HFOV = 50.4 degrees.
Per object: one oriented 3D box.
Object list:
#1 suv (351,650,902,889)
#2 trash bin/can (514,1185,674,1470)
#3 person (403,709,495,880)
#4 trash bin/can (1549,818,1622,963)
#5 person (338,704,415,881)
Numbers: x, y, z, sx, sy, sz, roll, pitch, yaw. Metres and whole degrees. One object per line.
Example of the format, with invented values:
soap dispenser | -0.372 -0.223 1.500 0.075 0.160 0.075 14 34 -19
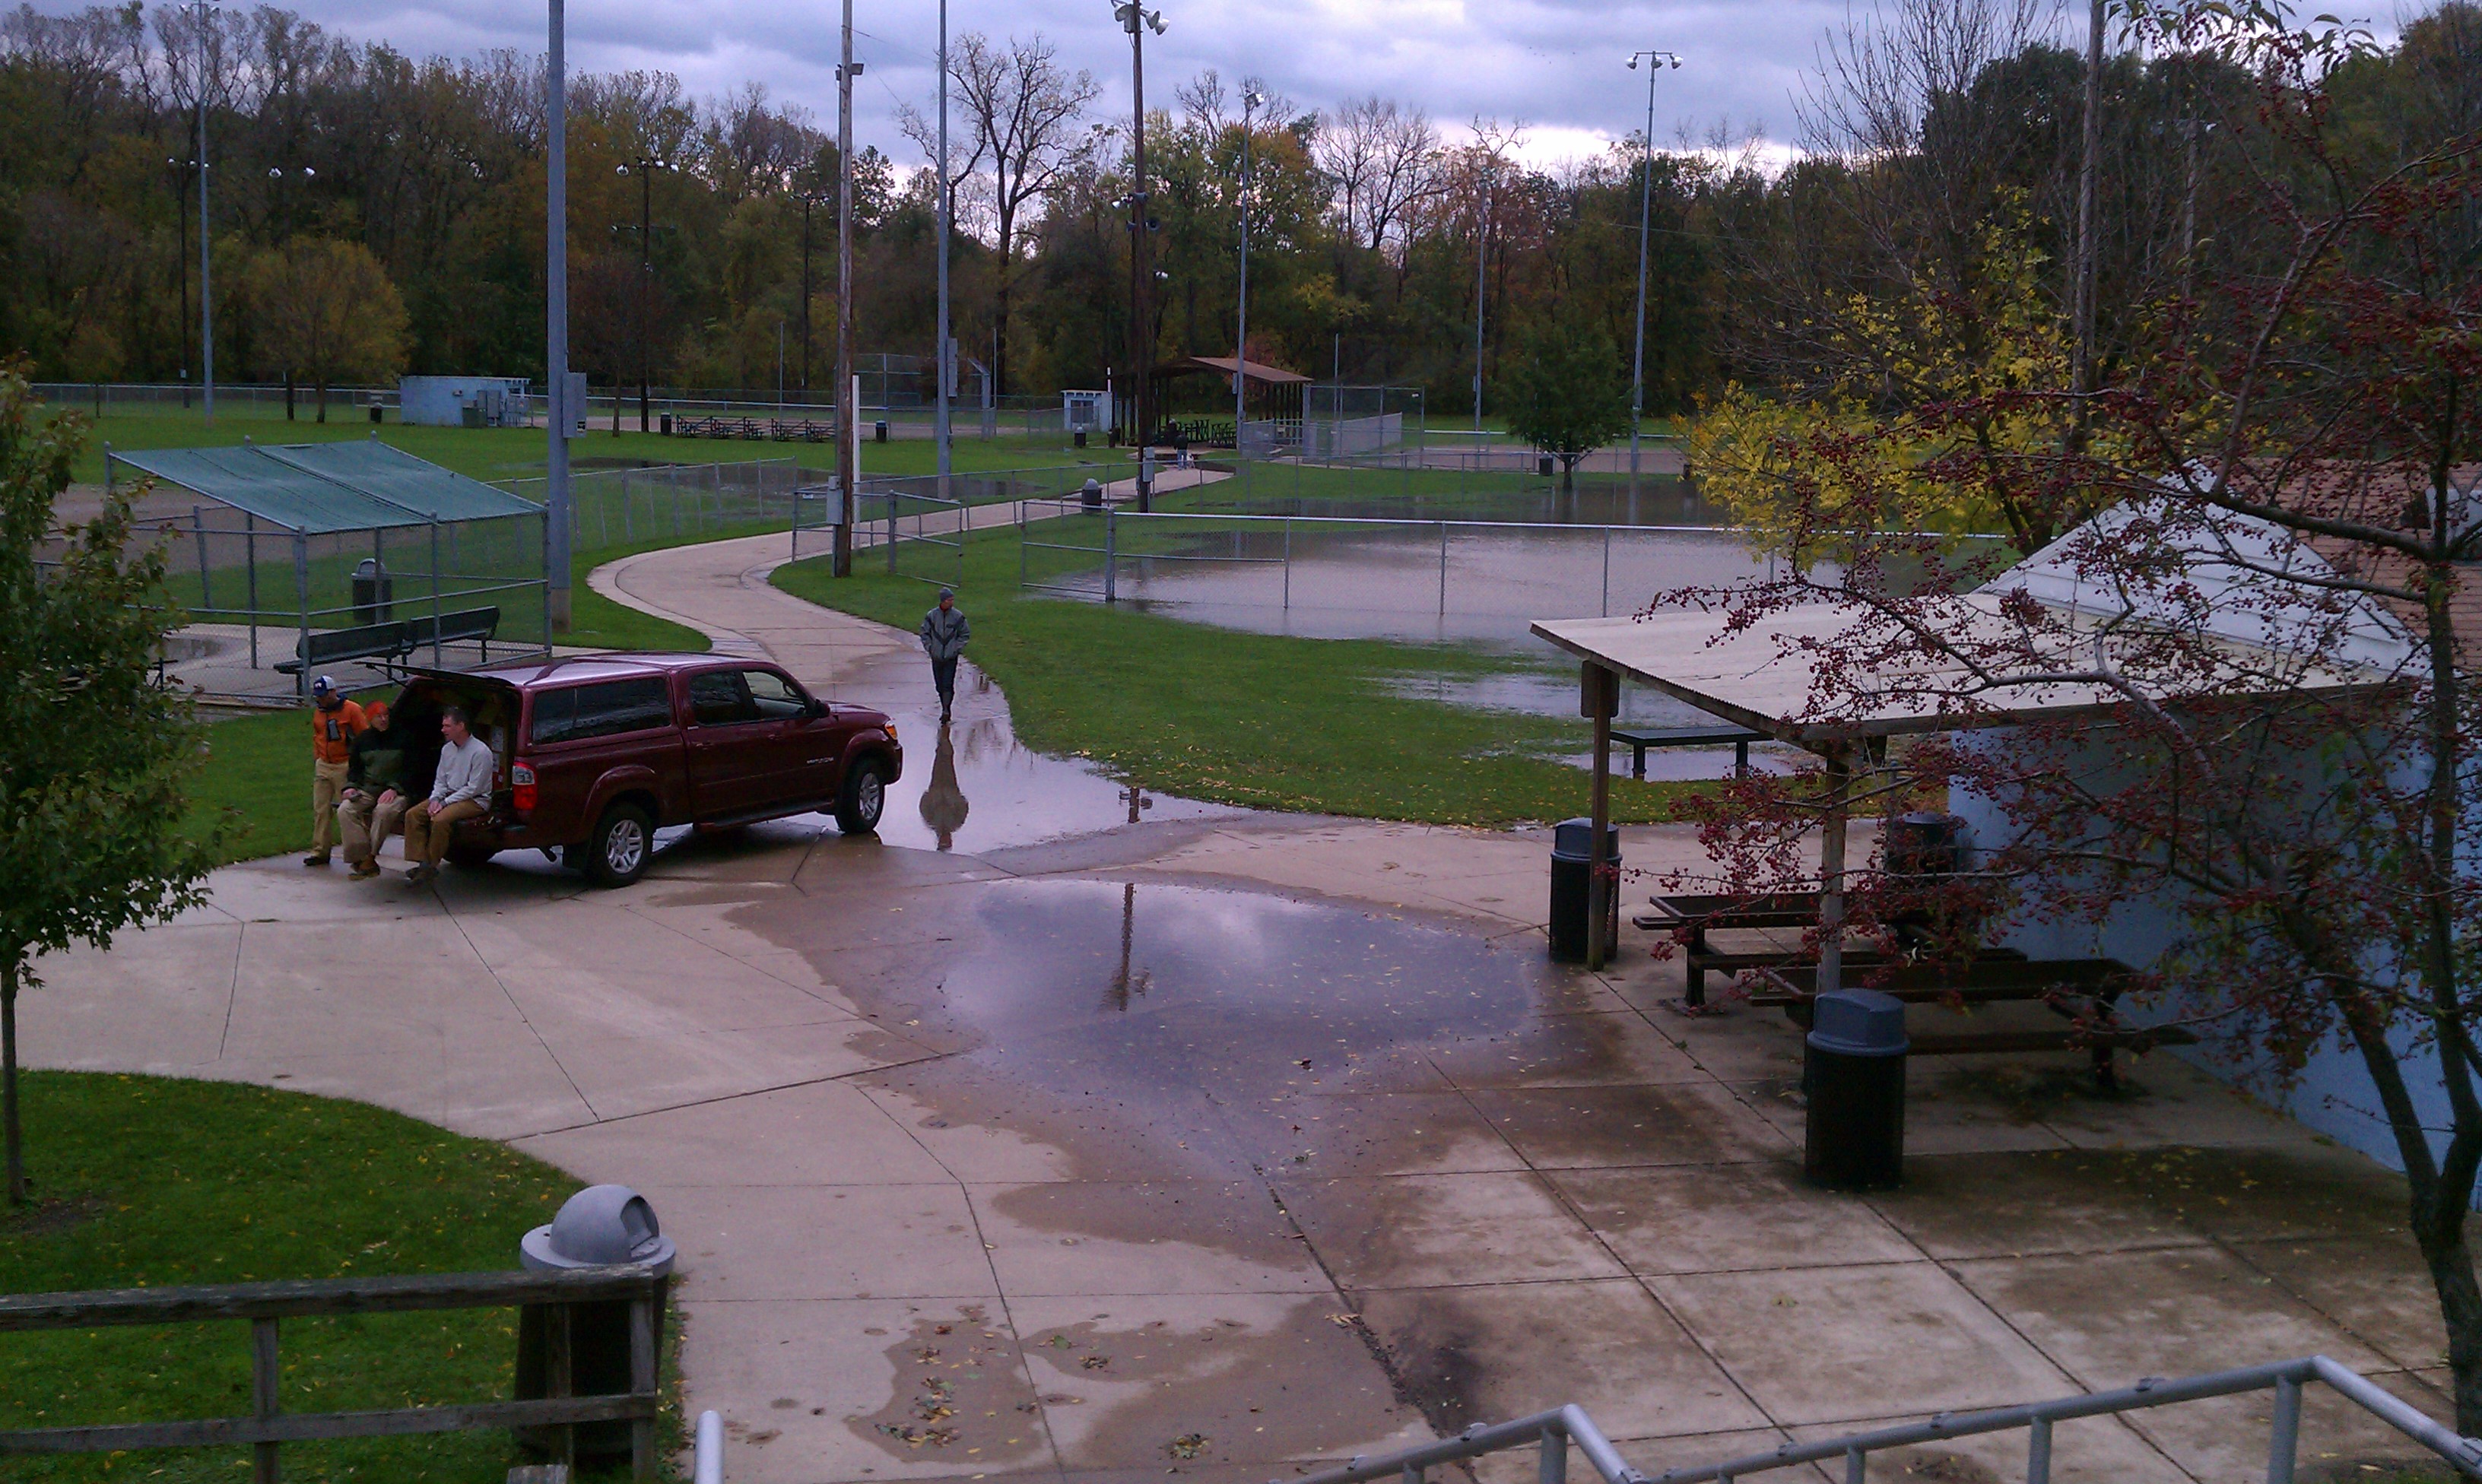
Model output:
suv | -6.423 0.117 28.620 2.318 1.711 4.808 5 11 37
trash bin/can | -4.591 4.186 18.559 1.083 1.983 1.062 0 14 -10
person | -8.075 0.578 27.036 0.942 1.786 0.542 0 14 -9
trash bin/can | 3.379 1.450 26.241 0.696 1.452 0.532 7 15 19
person | -9.036 0.496 27.529 0.746 1.681 0.765 -3 15 -20
